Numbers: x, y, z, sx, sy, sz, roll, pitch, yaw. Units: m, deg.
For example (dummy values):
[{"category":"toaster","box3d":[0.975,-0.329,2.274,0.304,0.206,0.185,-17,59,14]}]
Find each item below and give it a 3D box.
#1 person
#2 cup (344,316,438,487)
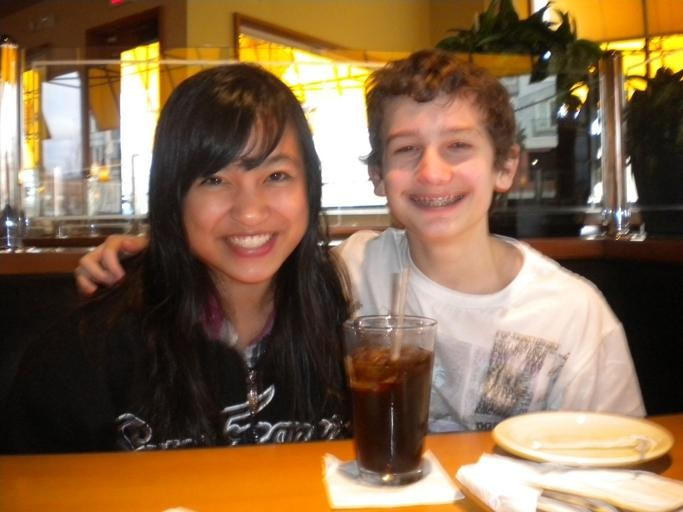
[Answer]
[{"category":"person","box3d":[0.007,-0.009,1.967,1.525,1.086,0.777,-2,1,-17]},{"category":"cup","box3d":[0.102,0.309,1.247,0.191,0.320,0.089,-1,5,6]}]
